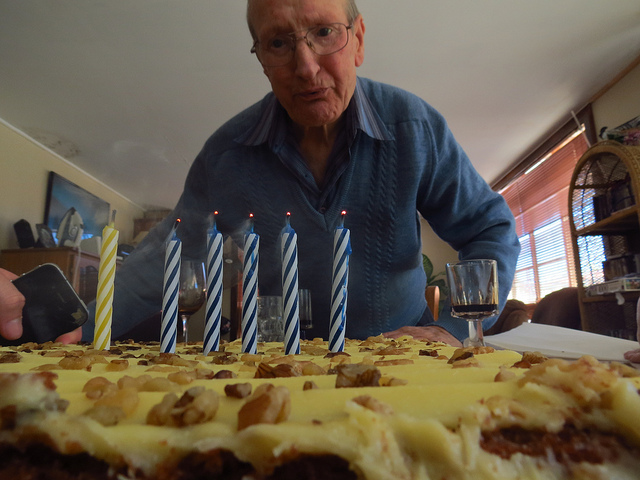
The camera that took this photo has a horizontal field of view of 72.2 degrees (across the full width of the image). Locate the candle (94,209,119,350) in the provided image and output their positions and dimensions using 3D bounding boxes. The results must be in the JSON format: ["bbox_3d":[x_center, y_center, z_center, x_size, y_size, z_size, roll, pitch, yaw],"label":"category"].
[{"bbox_3d":[-0.552,0.137,1.133,0.041,0.443,0.043,5,2,-12],"label":"candle"}]

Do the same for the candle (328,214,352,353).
[{"bbox_3d":[0.041,0.110,1.053,0.050,0.287,0.073,4,4,-6],"label":"candle"}]

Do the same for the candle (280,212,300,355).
[{"bbox_3d":[-0.069,0.112,1.005,0.058,0.282,0.058,2,6,0],"label":"candle"}]
